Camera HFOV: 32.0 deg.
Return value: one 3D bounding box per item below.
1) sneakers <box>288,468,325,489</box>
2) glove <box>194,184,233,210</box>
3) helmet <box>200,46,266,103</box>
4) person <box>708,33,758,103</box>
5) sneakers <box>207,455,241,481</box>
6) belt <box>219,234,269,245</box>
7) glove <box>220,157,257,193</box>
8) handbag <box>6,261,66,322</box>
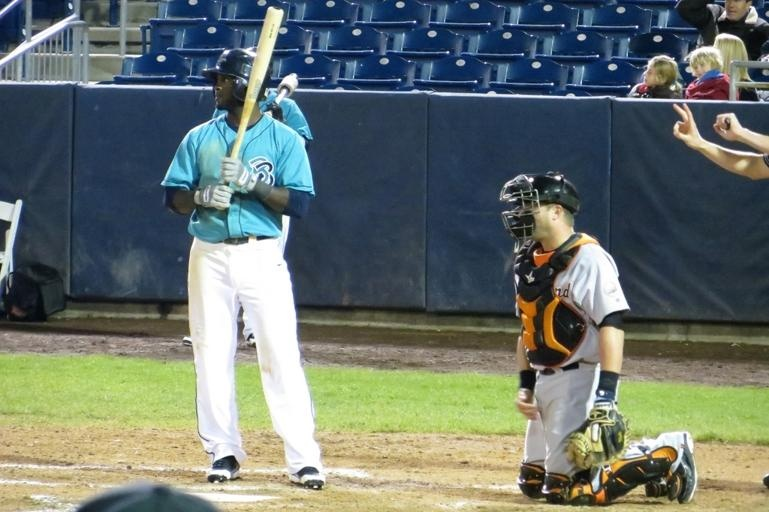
[{"bbox_3d":[-0.627,1.785,10.795,0.138,0.121,0.281,0,-4,-37],"label":"sneakers"},{"bbox_3d":[-1.371,-0.481,10.679,0.306,0.156,0.103,-4,-16,10],"label":"glove"},{"bbox_3d":[-1.234,-1.485,11.077,0.568,0.385,0.386,0,-11,-6],"label":"helmet"},{"bbox_3d":[3.982,-2.133,15.111,0.515,0.766,0.339,1,9,26],"label":"person"},{"bbox_3d":[-1.289,1.716,10.838,0.135,0.125,0.301,16,8,28],"label":"sneakers"},{"bbox_3d":[-1.108,-0.139,10.808,0.363,0.072,0.072,0,5,-21],"label":"belt"},{"bbox_3d":[-1.162,-0.648,10.723,0.285,0.282,0.138,1,5,-8],"label":"glove"},{"bbox_3d":[-3.965,0.385,15.378,0.724,0.602,0.652,6,10,30],"label":"handbag"}]
